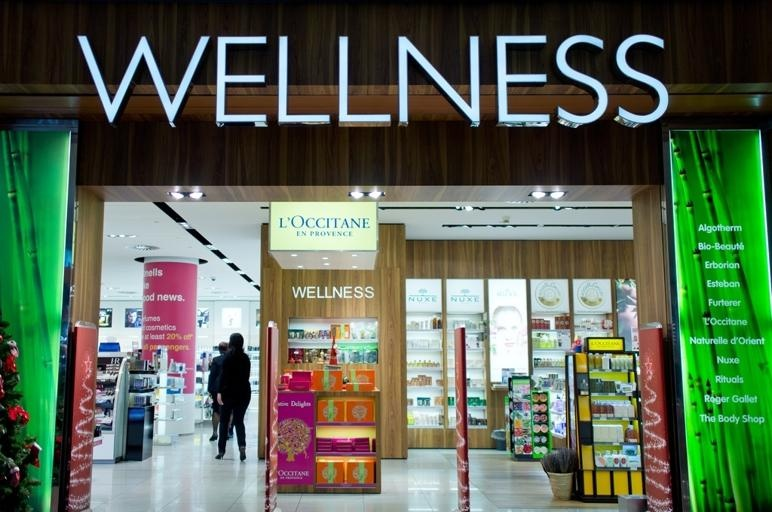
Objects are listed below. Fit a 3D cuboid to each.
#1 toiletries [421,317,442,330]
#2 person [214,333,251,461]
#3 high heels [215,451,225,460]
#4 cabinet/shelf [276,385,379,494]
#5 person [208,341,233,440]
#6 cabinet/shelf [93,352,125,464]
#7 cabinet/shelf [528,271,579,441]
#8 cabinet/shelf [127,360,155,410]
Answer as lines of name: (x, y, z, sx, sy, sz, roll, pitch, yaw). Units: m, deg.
toiletries: (0.919, 1.345, 12.773, 0.385, 0.352, 0.214, -1, 7, 12)
person: (-2.504, 2.264, 10.613, 0.586, 2.290, 0.497, 0, -2, -3)
high heels: (-2.788, 3.388, 10.990, 0.083, 0.138, 0.257, 7, -4, -29)
cabinet/shelf: (-0.790, 2.531, 8.625, 1.782, 1.865, 0.841, 0, -8, -1)
person: (-3.200, 2.480, 12.194, 0.542, 2.377, 0.460, 1, -2, 8)
cabinet/shelf: (-4.630, 2.597, 10.985, 0.525, 1.743, 0.415, 3, -9, -26)
cabinet/shelf: (3.320, 2.205, 12.938, 0.747, 3.475, 0.334, 1, 4, 33)
cabinet/shelf: (-4.354, 2.272, 11.545, 0.442, 0.804, 0.809, 2, -9, -22)
